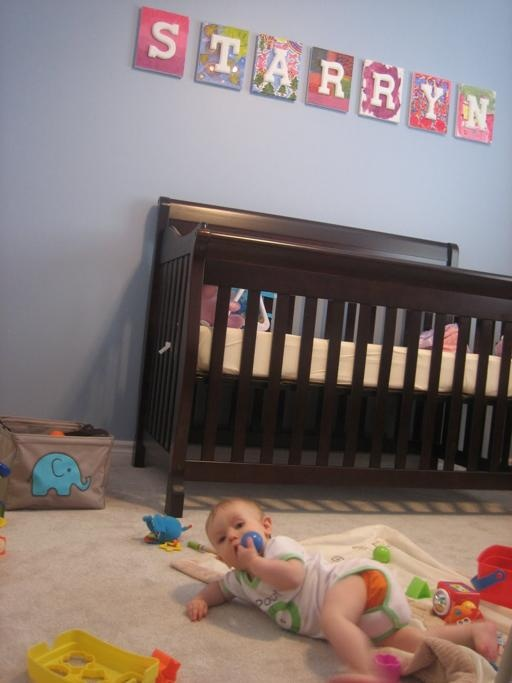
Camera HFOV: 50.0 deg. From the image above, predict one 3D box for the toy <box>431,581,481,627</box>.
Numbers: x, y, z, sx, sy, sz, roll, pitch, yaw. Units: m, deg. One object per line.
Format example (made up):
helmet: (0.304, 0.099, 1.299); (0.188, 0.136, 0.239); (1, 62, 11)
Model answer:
toy: (0.331, 0.427, 0.902); (0.073, 0.050, 0.052); (11, -2, -11)

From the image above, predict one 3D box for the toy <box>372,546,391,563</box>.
toy: (0.240, 0.409, 1.057); (0.035, 0.042, 0.036); (-1, 18, 12)

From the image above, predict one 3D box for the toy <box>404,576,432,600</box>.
toy: (0.289, 0.441, 0.980); (0.031, 0.051, 0.040); (4, 0, -39)
